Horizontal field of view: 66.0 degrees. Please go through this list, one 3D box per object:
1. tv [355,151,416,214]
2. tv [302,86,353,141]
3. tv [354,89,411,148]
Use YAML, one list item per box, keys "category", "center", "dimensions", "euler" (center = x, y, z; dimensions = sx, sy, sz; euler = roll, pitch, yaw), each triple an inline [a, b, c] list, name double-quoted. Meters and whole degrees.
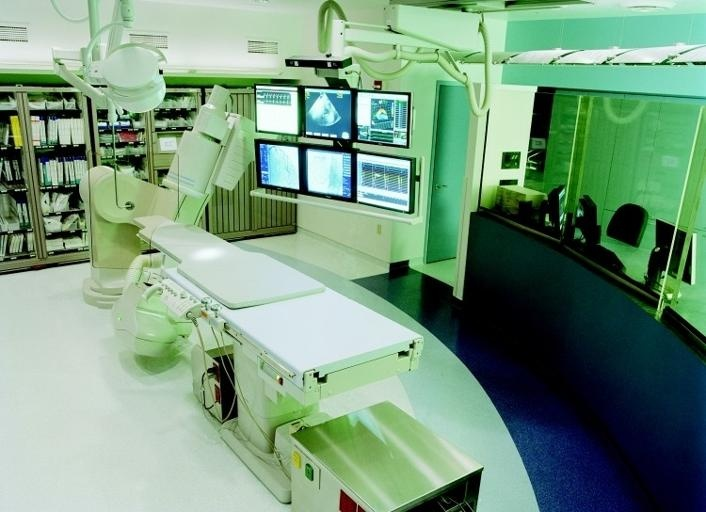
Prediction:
- category: "tv"
  center: [0.249, -0.596, 4.218]
  dimensions: [0.446, 0.384, 0.073]
  euler: [17, 28, 33]
- category: "tv"
  center: [-0.191, -1.211, 4.466]
  dimensions: [0.417, 0.361, 0.057]
  euler: [13, 23, 28]
- category: "tv"
  center: [0.238, -1.106, 4.252]
  dimensions: [0.427, 0.368, 0.045]
  euler: [14, 30, 22]
